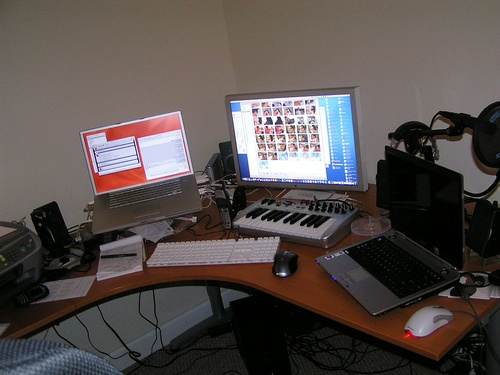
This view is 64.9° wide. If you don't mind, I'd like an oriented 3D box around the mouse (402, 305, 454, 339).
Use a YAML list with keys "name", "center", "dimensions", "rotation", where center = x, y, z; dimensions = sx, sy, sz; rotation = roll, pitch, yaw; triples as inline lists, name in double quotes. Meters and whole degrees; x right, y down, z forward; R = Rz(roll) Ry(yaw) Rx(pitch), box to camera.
- name: "mouse"
  center: [0.579, 0.436, 1.283]
  dimensions: [0.150, 0.050, 0.082]
  rotation: [-27, 29, -25]

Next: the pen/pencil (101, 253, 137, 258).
- name: "pen/pencil"
  center: [-0.634, 0.334, 1.926]
  dimensions: [0.154, 0.021, 0.021]
  rotation: [-1, 9, 1]

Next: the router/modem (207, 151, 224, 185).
- name: "router/modem"
  center: [-0.214, -0.116, 2.461]
  dimensions: [0.022, 0.121, 0.206]
  rotation: [9, 32, 18]

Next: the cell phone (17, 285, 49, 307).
- name: "cell phone"
  center: [-0.969, 0.481, 1.756]
  dimensions: [0.065, 0.034, 0.104]
  rotation: [42, 50, 20]

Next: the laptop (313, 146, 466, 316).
- name: "laptop"
  center: [0.495, 0.139, 1.493]
  dimensions: [0.420, 0.457, 0.419]
  rotation: [-13, 18, -11]

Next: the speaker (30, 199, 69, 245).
- name: "speaker"
  center: [-1.062, 0.186, 2.072]
  dimensions: [0.135, 0.250, 0.135]
  rotation: [-20, 11, 2]

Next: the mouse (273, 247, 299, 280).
- name: "mouse"
  center: [0.149, 0.316, 1.653]
  dimensions: [0.113, 0.078, 0.116]
  rotation: [-7, 18, 7]
